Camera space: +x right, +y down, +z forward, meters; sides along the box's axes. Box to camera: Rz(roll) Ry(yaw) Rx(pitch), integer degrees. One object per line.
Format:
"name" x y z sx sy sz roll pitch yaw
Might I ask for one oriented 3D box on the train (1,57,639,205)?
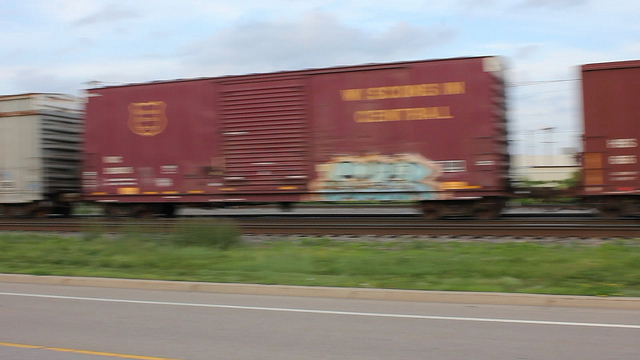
"train" 0.857 -1.941 28.475 21.952 5.411 3.252 -1 11 6

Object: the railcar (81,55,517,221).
"railcar" 1.317 -1.441 33.001 8.191 5.120 25.918 3 -1 -42
